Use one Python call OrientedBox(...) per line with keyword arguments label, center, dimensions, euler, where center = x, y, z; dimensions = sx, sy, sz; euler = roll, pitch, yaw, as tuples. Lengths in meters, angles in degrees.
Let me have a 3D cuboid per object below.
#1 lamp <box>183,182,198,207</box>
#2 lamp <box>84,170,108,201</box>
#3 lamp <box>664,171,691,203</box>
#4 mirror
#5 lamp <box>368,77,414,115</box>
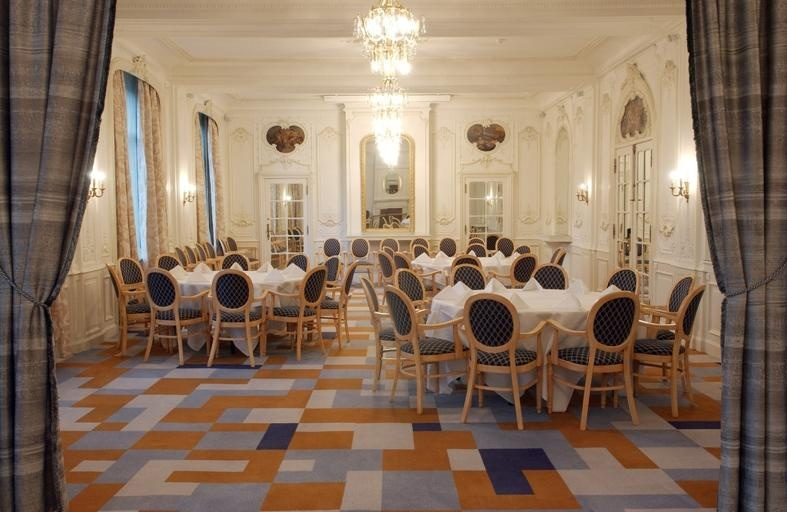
OrientedBox(label="lamp", center=(-4.279, -1.282, 11.472), dimensions=(0.185, 0.464, 0.905), euler=(-4, 13, -11))
OrientedBox(label="lamp", center=(-4.326, -1.044, 7.994), dimensions=(0.170, 0.440, 0.678), euler=(-5, 14, -17))
OrientedBox(label="lamp", center=(4.011, -0.976, 7.670), dimensions=(0.256, 0.430, 0.306), euler=(6, 4, 20))
OrientedBox(label="mirror", center=(-0.166, -1.823, 13.900), dimensions=(1.333, 2.347, 0.445), euler=(0, 14, 1))
OrientedBox(label="lamp", center=(-0.074, -2.817, 9.344), dimensions=(0.511, 0.788, 0.526), euler=(-14, 27, -34))
